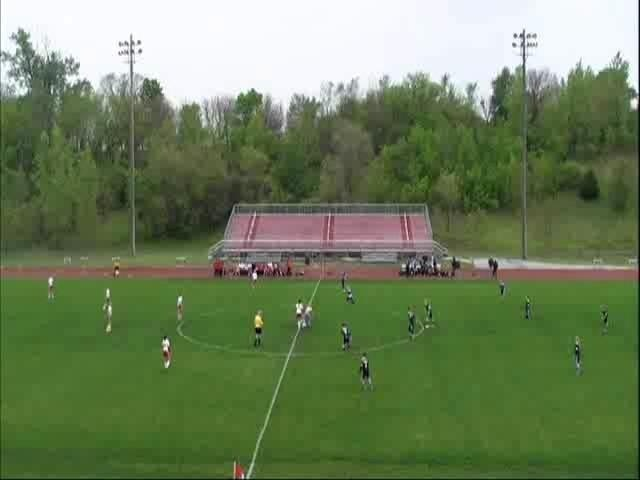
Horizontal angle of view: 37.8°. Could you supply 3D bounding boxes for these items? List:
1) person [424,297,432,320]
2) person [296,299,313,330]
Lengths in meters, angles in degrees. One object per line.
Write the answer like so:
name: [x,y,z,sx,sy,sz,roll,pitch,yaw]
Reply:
person: [9.350,6.062,81.199,0.678,1.618,0.299,-6,-25,14]
person: [-1.341,6.279,79.093,1.016,1.736,2.465,2,15,1]
